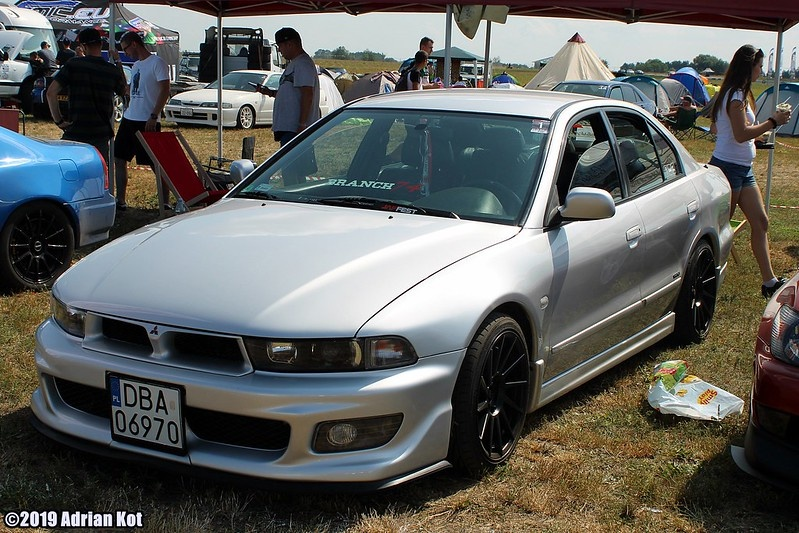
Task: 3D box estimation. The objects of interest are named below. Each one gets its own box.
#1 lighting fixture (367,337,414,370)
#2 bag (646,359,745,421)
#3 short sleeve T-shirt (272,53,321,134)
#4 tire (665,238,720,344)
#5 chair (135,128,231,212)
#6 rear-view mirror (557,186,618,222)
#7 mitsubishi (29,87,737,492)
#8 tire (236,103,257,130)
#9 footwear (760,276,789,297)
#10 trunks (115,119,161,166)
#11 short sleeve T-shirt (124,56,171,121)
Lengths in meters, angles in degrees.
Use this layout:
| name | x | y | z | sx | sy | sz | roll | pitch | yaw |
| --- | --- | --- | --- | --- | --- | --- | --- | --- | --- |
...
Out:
| name | x | y | z | sx | sy | sz | roll | pitch | yaw |
| --- | --- | --- | --- | --- | --- | --- | --- | --- | --- |
| lighting fixture | -0.049 | 0.394 | 2.683 | 0.134 | 0.097 | 0.180 | -2 | -4 | 39 |
| bag | 1.996 | 0.891 | 3.996 | 0.448 | 0.178 | 0.375 | 15 | 27 | 39 |
| short sleeve T-shirt | -1.472 | -2.417 | 8.147 | 0.571 | 1.022 | 1.012 | -6 | 19 | -19 |
| tire | 2.488 | 0.215 | 5.060 | 0.300 | 0.925 | 0.891 | 5 | 24 | 44 |
| chair | -2.798 | -1.221 | 7.670 | 1.082 | 0.889 | 0.651 | 14 | 20 | 14 |
| rear-view mirror | 1.063 | -0.389 | 3.443 | 0.442 | 0.251 | 0.138 | 3 | 36 | 17 |
| mitsubishi | 0.446 | 0.048 | 3.828 | 2.155 | 1.431 | 4.144 | 7 | 13 | 39 |
| tire | -4.683 | -4.536 | 17.721 | 0.284 | 0.857 | 0.824 | 3 | -2 | 31 |
| footwear | 3.376 | 0.191 | 5.273 | 0.254 | 0.114 | 0.092 | -28 | 22 | -20 |
| trunks | -3.615 | -1.699 | 8.048 | 0.680 | 0.575 | 0.397 | 9 | 16 | 29 |
| short sleeve T-shirt | -3.657 | -2.507 | 8.324 | 0.764 | 0.981 | 0.345 | 6 | 5 | 21 |
